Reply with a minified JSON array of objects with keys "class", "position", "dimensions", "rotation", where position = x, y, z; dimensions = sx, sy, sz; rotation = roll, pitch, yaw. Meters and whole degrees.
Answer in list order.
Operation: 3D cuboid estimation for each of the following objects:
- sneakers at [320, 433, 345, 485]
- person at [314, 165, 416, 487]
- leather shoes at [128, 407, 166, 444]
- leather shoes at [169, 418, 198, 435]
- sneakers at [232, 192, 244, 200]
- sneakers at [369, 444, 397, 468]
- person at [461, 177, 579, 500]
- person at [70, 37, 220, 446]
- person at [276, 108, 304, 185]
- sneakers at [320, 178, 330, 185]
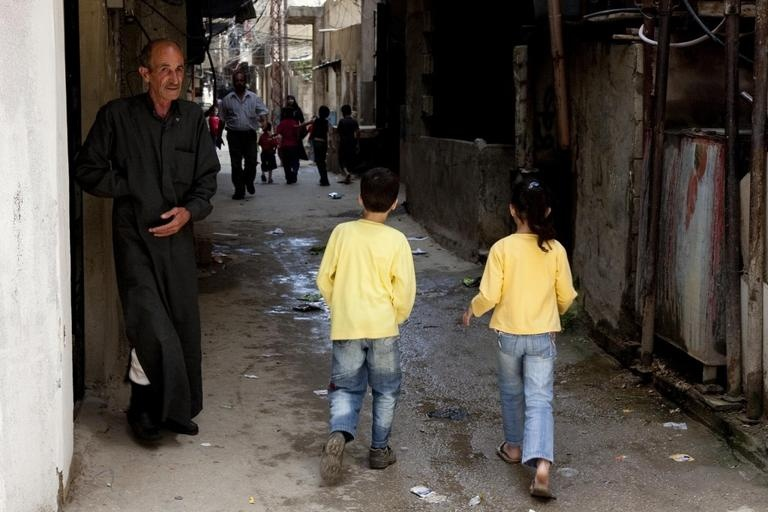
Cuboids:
[{"class":"sneakers","position":[-0.295,1.166,4.441],"dimensions":[0.150,0.330,0.153],"rotation":[12,-14,-12]},{"class":"person","position":[-0.160,0.411,4.522],"dimensions":[0.692,1.814,0.515],"rotation":[-7,16,-30]},{"class":"leather shoes","position":[-1.462,1.073,4.760],"dimensions":[0.332,0.213,0.116],"rotation":[0,0,44]},{"class":"leather shoes","position":[-1.273,1.073,4.761],"dimensions":[0.157,0.058,0.109],"rotation":[1,2,6]},{"class":"sneakers","position":[-2.861,-1.170,14.776],"dimensions":[0.187,0.167,0.159],"rotation":[2,2,3]},{"class":"sneakers","position":[-0.013,1.230,4.751],"dimensions":[0.097,0.117,0.188],"rotation":[6,12,32]},{"class":"person","position":[0.834,0.445,4.568],"dimensions":[0.599,1.753,0.798],"rotation":[5,14,14]},{"class":"person","position":[-1.437,-0.102,4.790],"dimensions":[0.732,2.454,0.668],"rotation":[7,15,24]},{"class":"person","position":[-2.213,-2.607,17.763],"dimensions":[0.659,1.731,0.924],"rotation":[0,14,-6]},{"class":"sneakers","position":[-1.350,-1.718,17.470],"dimensions":[0.145,0.130,0.185],"rotation":[0,1,-23]}]
